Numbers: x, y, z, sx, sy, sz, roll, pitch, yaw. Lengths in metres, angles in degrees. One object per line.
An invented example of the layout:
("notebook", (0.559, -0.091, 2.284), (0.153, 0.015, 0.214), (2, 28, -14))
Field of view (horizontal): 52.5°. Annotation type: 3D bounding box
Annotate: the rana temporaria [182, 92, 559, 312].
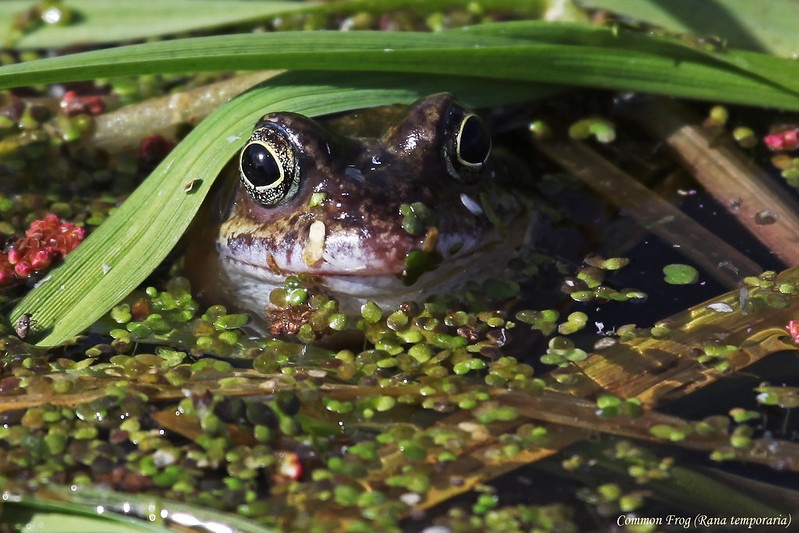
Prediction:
("rana temporaria", (-0.109, -0.323, 2.498), (1.033, 0.344, 0.973), (-21, 24, -22))
